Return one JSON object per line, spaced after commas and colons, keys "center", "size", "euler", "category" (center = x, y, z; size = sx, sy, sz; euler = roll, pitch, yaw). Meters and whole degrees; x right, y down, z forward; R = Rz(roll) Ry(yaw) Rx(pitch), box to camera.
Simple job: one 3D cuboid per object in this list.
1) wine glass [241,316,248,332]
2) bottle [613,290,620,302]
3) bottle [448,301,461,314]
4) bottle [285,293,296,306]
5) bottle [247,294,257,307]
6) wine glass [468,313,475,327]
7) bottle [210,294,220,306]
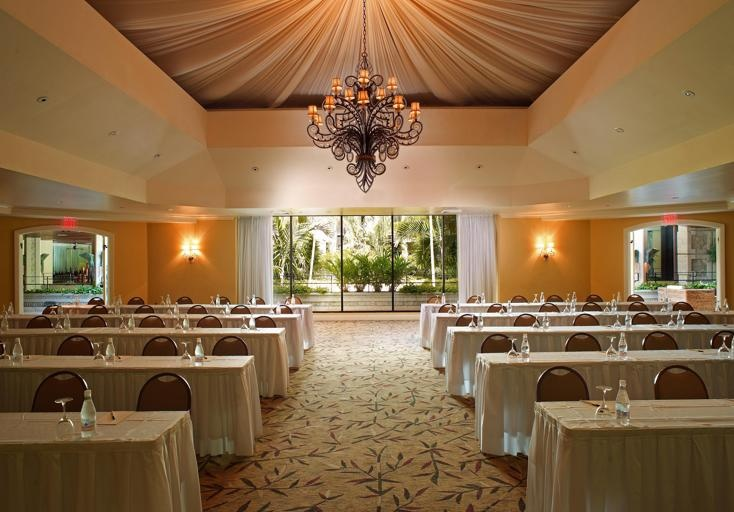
{"center": [-2.220, 1.237, 9.460], "size": [0.155, 0.254, 0.167], "euler": [1, -5, -5], "category": "wine glass"}
{"center": [6.707, 1.075, 14.016], "size": [0.131, 0.386, 0.141], "euler": [5, -17, 2], "category": "bottle"}
{"center": [1.851, 1.101, 11.054], "size": [0.199, 0.264, 0.215], "euler": [0, -5, 0], "category": "bottle"}
{"center": [-2.026, 1.135, 13.794], "size": [0.152, 0.445, 0.166], "euler": [2, -23, 1], "category": "bottle"}
{"center": [-2.990, 1.154, 13.534], "size": [0.264, 0.313, 0.298], "euler": [5, 5, 40], "category": "bottle"}
{"center": [1.920, 1.139, 9.288], "size": [0.184, 0.234, 0.189], "euler": [-1, -6, 1], "category": "wine glass"}
{"center": [-3.909, 1.136, 13.419], "size": [0.286, 0.322, 0.296], "euler": [-1, -1, 32], "category": "bottle"}
